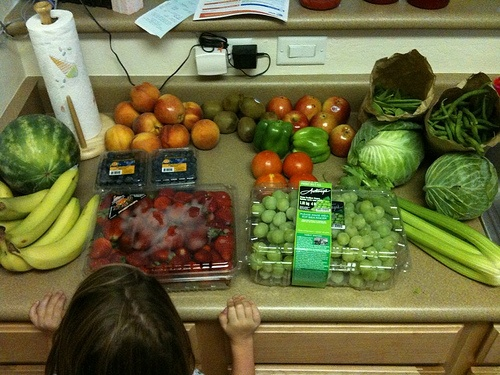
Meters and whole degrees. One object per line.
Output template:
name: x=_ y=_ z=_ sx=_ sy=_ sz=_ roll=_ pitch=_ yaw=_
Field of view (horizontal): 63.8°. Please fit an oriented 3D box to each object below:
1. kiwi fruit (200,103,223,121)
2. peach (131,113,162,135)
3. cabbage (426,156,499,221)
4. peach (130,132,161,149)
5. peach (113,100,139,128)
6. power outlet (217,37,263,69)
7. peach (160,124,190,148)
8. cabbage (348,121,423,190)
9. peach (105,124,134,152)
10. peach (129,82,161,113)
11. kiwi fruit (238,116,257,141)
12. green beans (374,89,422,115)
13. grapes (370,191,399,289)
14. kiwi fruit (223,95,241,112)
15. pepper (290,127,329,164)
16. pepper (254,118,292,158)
kiwi fruit: x=-0.141 y=-0.276 z=1.483 sx=0.069 sy=0.051 sz=0.054 roll=5 pitch=87 yaw=0
peach: x=-0.358 y=-0.221 z=1.409 sx=0.080 sy=0.080 sz=0.079 roll=21 pitch=44 yaw=-6
cabbage: x=0.609 y=-0.004 z=1.231 sx=0.198 sy=0.146 sz=0.182 roll=-18 pitch=59 yaw=34
peach: x=-0.353 y=-0.152 z=1.363 sx=0.079 sy=0.066 sz=0.067 roll=-8 pitch=23 yaw=-41
peach: x=-0.445 y=-0.266 z=1.505 sx=0.081 sy=0.099 sz=0.088 roll=6 pitch=34 yaw=10
power outlet: x=-0.027 y=-0.481 z=1.453 sx=0.160 sy=0.118 sz=0.090 roll=1 pitch=55 yaw=-1
peach: x=-0.272 y=-0.171 z=1.448 sx=0.121 sy=0.120 sz=0.112 roll=-1 pitch=3 yaw=-10
cabbage: x=0.443 y=-0.095 z=1.339 sx=0.235 sy=0.143 sz=0.195 roll=-29 pitch=45 yaw=-14
peach: x=-0.453 y=-0.166 z=1.439 sx=0.095 sy=0.089 sz=0.095 roll=-4 pitch=88 yaw=-4
peach: x=-0.368 y=-0.316 z=1.412 sx=0.101 sy=0.101 sz=0.095 roll=-7 pitch=16 yaw=-8
kiwi fruit: x=-0.010 y=-0.210 z=1.442 sx=0.061 sy=0.062 sz=0.081 roll=0 pitch=28 yaw=-5
green beans: x=0.493 y=-0.281 z=1.337 sx=0.097 sy=0.062 sz=0.086 roll=-6 pitch=33 yaw=-9
grapes: x=0.372 y=0.150 z=1.153 sx=0.142 sy=0.078 sz=0.228 roll=-1 pitch=68 yaw=-2
kiwi fruit: x=-0.065 y=-0.305 z=1.474 sx=0.066 sy=0.050 sz=0.053 roll=-4 pitch=89 yaw=1
pepper: x=0.212 y=-0.150 z=1.456 sx=0.125 sy=0.126 sz=0.112 roll=18 pitch=82 yaw=-1
pepper: x=0.082 y=-0.173 z=1.437 sx=0.134 sy=0.145 sz=0.138 roll=17 pitch=23 yaw=6
